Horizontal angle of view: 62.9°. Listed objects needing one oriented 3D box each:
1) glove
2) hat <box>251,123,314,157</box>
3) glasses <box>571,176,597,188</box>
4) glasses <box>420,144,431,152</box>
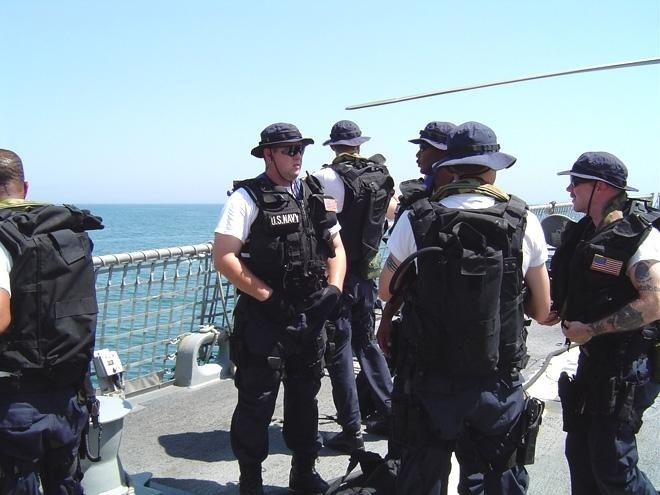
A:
[{"bbox_3d":[-0.194,0.443,3.777,0.348,0.261,0.458,-14,19,43],"label":"glove"},{"bbox_3d":[-0.337,-0.744,3.761,0.419,0.229,0.161,-1,12,-3],"label":"hat"},{"bbox_3d":[1.651,-0.437,3.590,0.135,0.033,0.107,3,2,-40],"label":"glasses"},{"bbox_3d":[0.816,-0.862,4.677,0.069,0.055,0.062,-3,8,-17],"label":"glasses"}]
